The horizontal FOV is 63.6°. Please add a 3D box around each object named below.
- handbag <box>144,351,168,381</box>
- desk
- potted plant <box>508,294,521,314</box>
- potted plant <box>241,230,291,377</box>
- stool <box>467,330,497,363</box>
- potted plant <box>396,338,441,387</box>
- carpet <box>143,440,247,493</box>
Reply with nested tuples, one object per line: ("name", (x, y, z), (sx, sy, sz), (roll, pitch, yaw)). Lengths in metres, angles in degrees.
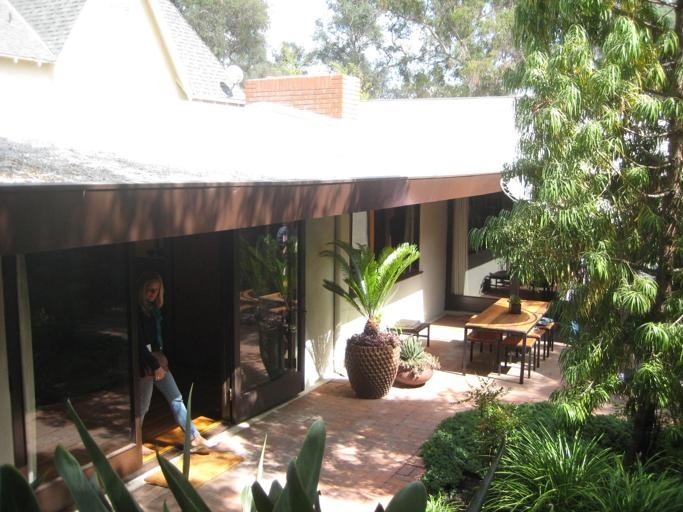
("handbag", (-2.220, 1.349, 6.645), (0.230, 0.243, 0.294), (17, 37, 3))
("desk", (3.159, 1.481, 10.473), (1.132, 1.230, 2.651), (3, 5, 26))
("potted plant", (3.387, 0.935, 10.785), (0.285, 0.405, 0.268), (-1, 4, -1))
("potted plant", (-1.107, 0.724, 8.228), (0.750, 2.217, 0.950), (-7, 9, 0))
("stool", (2.704, 1.923, 10.553), (0.494, 0.718, 0.995), (3, 5, 18))
("potted plant", (1.276, 1.813, 9.456), (0.650, 0.844, 0.745), (-1, 1, -8))
("carpet", (-1.669, 2.439, 6.433), (0.634, 0.201, 1.099), (4, 6, 34))
